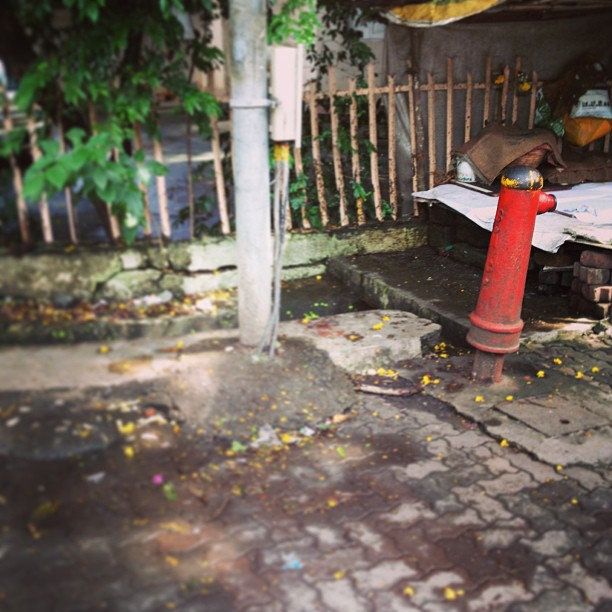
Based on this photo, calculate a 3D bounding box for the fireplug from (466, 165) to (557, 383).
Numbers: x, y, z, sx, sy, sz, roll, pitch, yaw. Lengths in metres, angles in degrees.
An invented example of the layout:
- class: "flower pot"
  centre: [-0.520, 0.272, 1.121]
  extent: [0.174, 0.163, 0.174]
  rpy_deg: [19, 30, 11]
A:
- class: "fireplug"
  centre: [1.370, -0.174, 4.094]
  extent: [0.445, 1.585, 0.202]
  rpy_deg: [1, 18, 11]
